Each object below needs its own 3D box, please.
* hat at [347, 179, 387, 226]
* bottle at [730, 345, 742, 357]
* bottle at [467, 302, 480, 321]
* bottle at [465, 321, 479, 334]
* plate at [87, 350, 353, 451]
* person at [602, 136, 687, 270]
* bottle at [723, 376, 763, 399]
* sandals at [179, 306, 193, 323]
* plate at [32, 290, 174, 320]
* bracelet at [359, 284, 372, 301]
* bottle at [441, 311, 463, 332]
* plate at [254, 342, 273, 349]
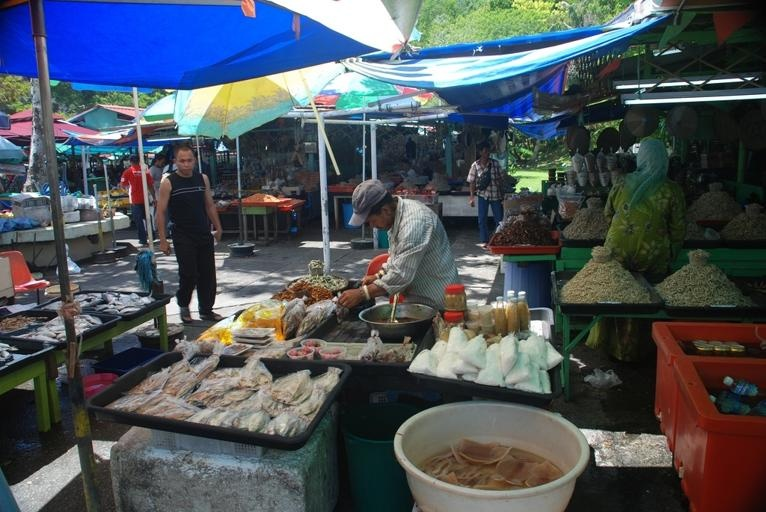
[{"bbox_3d":[-0.125,-0.454,4.528,0.336,0.377,0.310,-6,10,-4],"label":"hat"},{"bbox_3d":[2.735,0.729,4.053,0.087,0.069,0.132,2,11,39],"label":"bottle"},{"bbox_3d":[0.716,0.444,4.142,0.123,0.073,0.111,0,3,9],"label":"bottle"},{"bbox_3d":[0.664,0.534,3.960,0.099,0.088,0.096,6,17,35],"label":"bottle"},{"bbox_3d":[-1.158,0.923,3.232,1.163,0.100,0.652,3,11,10],"label":"plate"},{"bbox_3d":[2.813,-0.507,5.642,0.787,1.443,0.321,-2,11,20],"label":"person"},{"bbox_3d":[2.490,0.921,3.663,0.234,0.075,0.112,13,43,25],"label":"bottle"},{"bbox_3d":[-2.619,0.788,6.980,0.106,0.091,0.282,-7,18,-30],"label":"sandals"},{"bbox_3d":[-2.992,0.513,5.746,0.783,0.078,0.801,7,9,29],"label":"plate"},{"bbox_3d":[-0.144,0.321,4.438,0.087,0.131,0.121,-8,10,-10],"label":"bracelet"},{"bbox_3d":[0.531,0.491,3.954,0.143,0.114,0.133,-2,5,0],"label":"bottle"},{"bbox_3d":[-0.912,0.691,4.054,0.148,0.027,0.087,-7,9,-17],"label":"plate"}]
